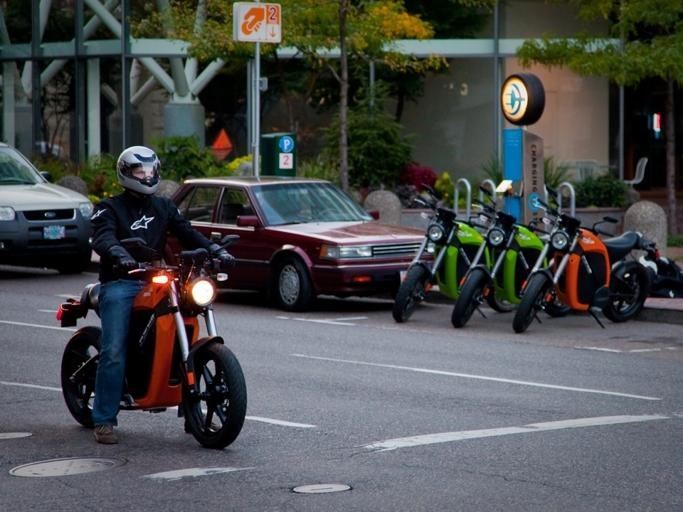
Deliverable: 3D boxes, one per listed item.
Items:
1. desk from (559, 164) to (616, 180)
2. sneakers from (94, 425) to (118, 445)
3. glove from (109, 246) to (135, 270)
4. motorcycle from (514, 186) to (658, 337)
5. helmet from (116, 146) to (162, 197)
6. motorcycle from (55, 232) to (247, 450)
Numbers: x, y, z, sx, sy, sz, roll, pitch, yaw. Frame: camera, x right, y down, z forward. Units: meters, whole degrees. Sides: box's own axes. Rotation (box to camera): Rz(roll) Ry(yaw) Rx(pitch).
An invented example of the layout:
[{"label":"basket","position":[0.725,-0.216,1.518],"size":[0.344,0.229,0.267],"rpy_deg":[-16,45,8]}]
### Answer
[{"label":"desk","position":[6.706,-2.375,25.134],"size":[1.154,0.406,0.842],"rpy_deg":[-5,7,-33]},{"label":"sneakers","position":[-1.753,1.319,6.797],"size":[0.084,0.118,0.259],"rpy_deg":[0,-2,-30]},{"label":"glove","position":[-1.583,0.008,6.576],"size":[0.140,0.155,0.289],"rpy_deg":[-3,6,-30]},{"label":"motorcycle","position":[3.046,0.303,12.559],"size":[2.346,1.754,1.155],"rpy_deg":[4,0,-35]},{"label":"helmet","position":[-1.565,-0.664,7.029],"size":[0.306,0.371,0.391],"rpy_deg":[-3,11,-34]},{"label":"motorcycle","position":[-1.502,0.582,7.021],"size":[1.980,1.503,0.883],"rpy_deg":[2,-1,38]}]
